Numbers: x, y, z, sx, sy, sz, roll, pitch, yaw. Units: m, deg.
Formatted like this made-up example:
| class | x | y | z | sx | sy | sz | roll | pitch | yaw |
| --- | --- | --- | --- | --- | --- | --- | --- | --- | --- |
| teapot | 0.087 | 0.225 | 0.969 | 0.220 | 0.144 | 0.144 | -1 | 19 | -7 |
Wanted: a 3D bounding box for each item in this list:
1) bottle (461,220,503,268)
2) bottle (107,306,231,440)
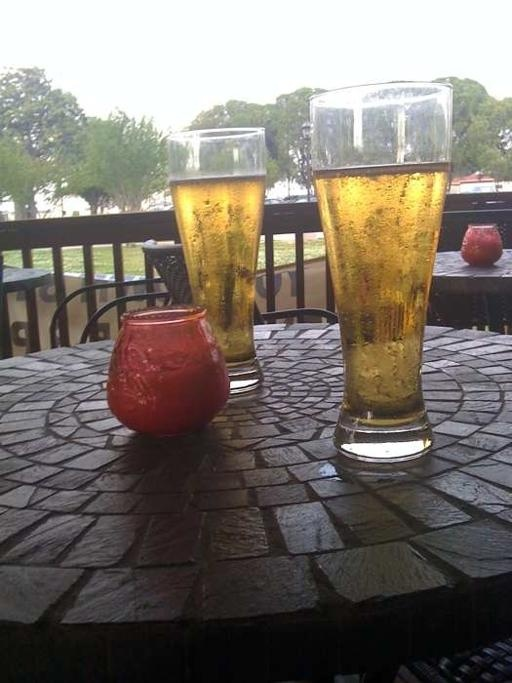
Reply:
| class | x | y | z | sx | sy | sz | roll | pitch | yaw |
| --- | --- | --- | --- | --- | --- | --- | --- | --- | --- |
| bottle | 0.915 | -0.390 | 2.263 | 0.186 | 0.194 | 0.185 | -1 | 4 | -1 |
| bottle | -0.092 | 0.031 | 0.591 | 0.145 | 0.122 | 0.140 | 2 | 15 | 20 |
